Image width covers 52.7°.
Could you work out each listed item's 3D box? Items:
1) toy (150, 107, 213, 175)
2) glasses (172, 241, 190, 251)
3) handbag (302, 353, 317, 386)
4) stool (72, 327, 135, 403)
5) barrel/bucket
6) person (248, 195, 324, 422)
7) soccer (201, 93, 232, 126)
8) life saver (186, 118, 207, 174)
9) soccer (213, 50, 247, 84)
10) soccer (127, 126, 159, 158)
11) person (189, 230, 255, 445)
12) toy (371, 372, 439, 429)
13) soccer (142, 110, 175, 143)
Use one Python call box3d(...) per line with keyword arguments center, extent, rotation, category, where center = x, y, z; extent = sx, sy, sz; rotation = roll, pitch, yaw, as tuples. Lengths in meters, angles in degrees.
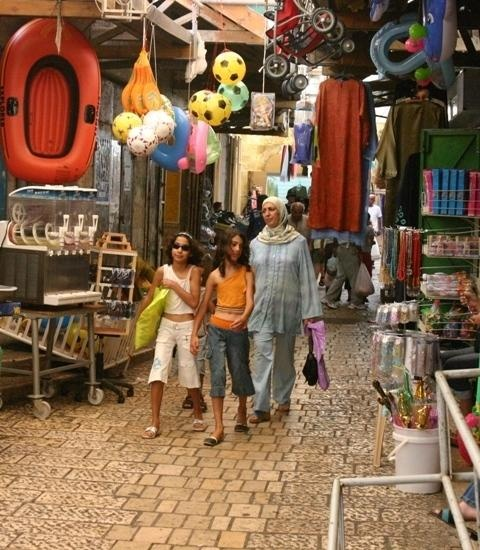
box3d(center=(-0.658, -1.676, 6.373), extent=(0.684, 0.917, 0.857), rotation=(4, 10, 15), category="toy")
box3d(center=(-0.557, -0.273, 4.599), extent=(0.181, 0.086, 0.116), rotation=(1, 0, -8), category="glasses")
box3d(center=(0.711, 0.938, 4.844), extent=(0.143, 0.245, 0.243), rotation=(1, 0, 7), category="handbag")
box3d(center=(-1.627, 1.052, 5.957), extent=(0.586, 0.887, 0.571), rotation=(4, 14, 4), category="stool")
box3d(center=(1.292, 1.313, 3.463), extent=(0.399, 0.433, 0.365), rotation=(1, -13, 0), category="barrel/bucket")
box3d(center=(0.419, 0.339, 5.036), extent=(0.741, 2.243, 0.838), rotation=(1, 3, 6), category="person")
box3d(center=(-0.356, -2.231, 6.753), extent=(0.454, 0.527, 0.452), rotation=(0, 4, -7), category="soccer")
box3d(center=(-0.526, -1.649, 6.204), extent=(0.208, 0.565, 0.429), rotation=(1, 3, 4), category="life saver")
box3d(center=(-0.097, -2.920, 6.890), extent=(0.450, 0.529, 0.446), rotation=(4, 20, 15), category="soccer")
box3d(center=(-1.030, -1.440, 5.254), extent=(0.308, 0.309, 0.304), rotation=(-3, 15, -32), category="soccer")
box3d(center=(-0.130, 0.512, 4.594), extent=(0.624, 1.784, 0.689), rotation=(1, 3, 1), category="person")
box3d(center=(1.198, 0.896, 3.580), extent=(0.452, 0.435, 0.353), rotation=(-1, 0, -1), category="toy")
box3d(center=(-0.876, -1.638, 5.400), extent=(0.379, 0.398, 0.338), rotation=(-19, 21, -37), category="soccer")
